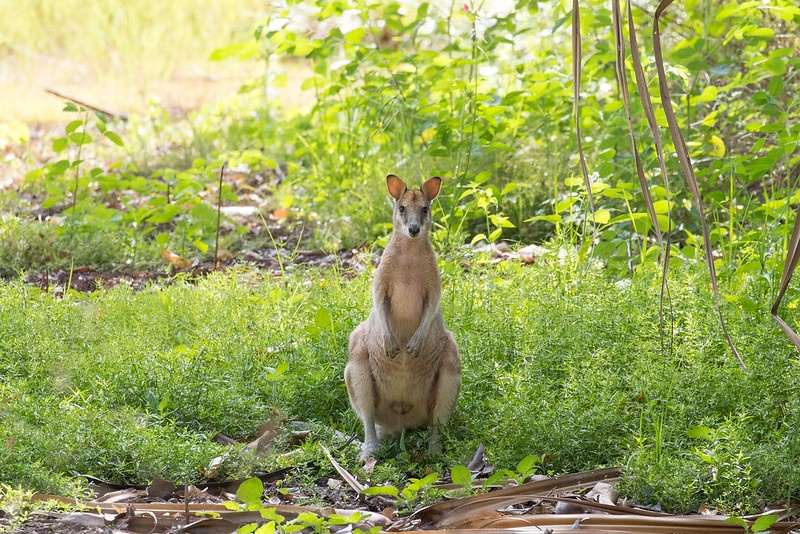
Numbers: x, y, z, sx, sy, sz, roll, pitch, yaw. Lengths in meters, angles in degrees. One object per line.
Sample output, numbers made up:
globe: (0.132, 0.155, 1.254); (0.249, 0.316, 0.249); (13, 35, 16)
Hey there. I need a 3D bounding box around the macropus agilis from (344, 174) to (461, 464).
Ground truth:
macropus agilis: (0.049, 0.395, 6.631); (0.806, 1.863, 0.337); (4, 8, -3)
